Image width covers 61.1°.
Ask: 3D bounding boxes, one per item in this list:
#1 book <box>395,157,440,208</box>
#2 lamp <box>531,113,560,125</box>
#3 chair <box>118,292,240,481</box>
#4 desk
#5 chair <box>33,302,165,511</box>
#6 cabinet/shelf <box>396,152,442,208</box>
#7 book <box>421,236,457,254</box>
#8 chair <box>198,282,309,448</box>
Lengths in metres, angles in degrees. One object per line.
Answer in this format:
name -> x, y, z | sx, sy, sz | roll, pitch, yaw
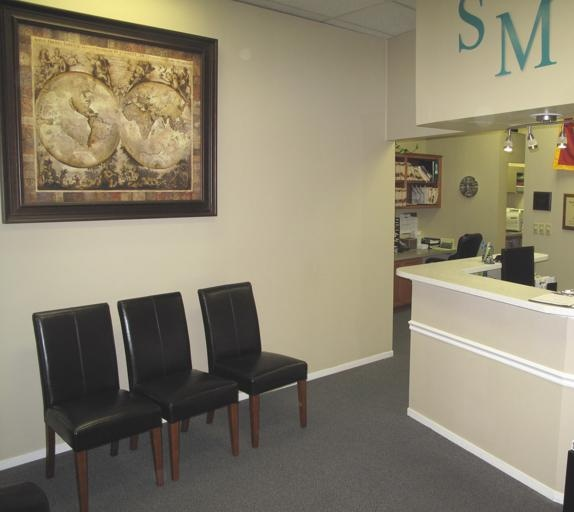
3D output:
book -> 1.945, -1.096, 7.119 | 0.288, 0.792, 1.279 | 7, 12, 35
lamp -> 1.774, -0.934, 3.321 | 0.150, 0.058, 0.255 | 5, 11, 28
chair -> -0.740, 0.804, 3.223 | 0.622, 1.062, 0.542 | 1, 6, 35
desk -> 1.821, 0.333, 6.799 | 0.418, 0.762, 1.090 | 7, 12, 38
chair -> -1.144, 0.871, 2.962 | 0.622, 1.055, 0.708 | -7, 12, -35
cabinet/shelf -> 1.980, -1.040, 7.337 | 0.843, 0.681, 0.294 | 17, 7, -19
book -> 2.280, -0.167, 7.272 | 0.392, 0.158, 0.291 | -2, 4, -41
chair -> -0.252, 0.760, 3.579 | 0.557, 1.085, 0.707 | -5, 5, -34
